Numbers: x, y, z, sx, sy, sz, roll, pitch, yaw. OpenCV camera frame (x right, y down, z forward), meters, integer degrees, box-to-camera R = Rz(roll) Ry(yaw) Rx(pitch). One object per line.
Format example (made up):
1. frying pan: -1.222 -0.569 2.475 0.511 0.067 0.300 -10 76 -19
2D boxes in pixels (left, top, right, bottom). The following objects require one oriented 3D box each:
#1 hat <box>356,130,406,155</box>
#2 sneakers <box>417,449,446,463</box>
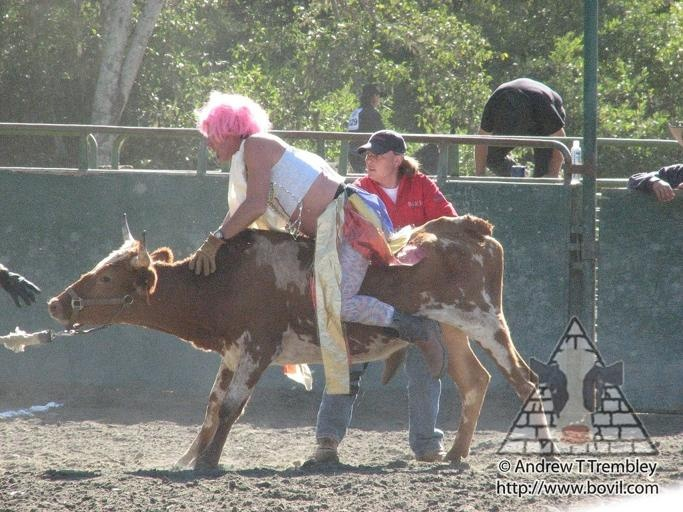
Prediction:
1. hat: 0.571 -1.454 22.636 0.459 0.250 0.339 7 3 -8
2. sneakers: 1.190 2.626 22.638 0.206 0.213 0.202 4 -6 -32
